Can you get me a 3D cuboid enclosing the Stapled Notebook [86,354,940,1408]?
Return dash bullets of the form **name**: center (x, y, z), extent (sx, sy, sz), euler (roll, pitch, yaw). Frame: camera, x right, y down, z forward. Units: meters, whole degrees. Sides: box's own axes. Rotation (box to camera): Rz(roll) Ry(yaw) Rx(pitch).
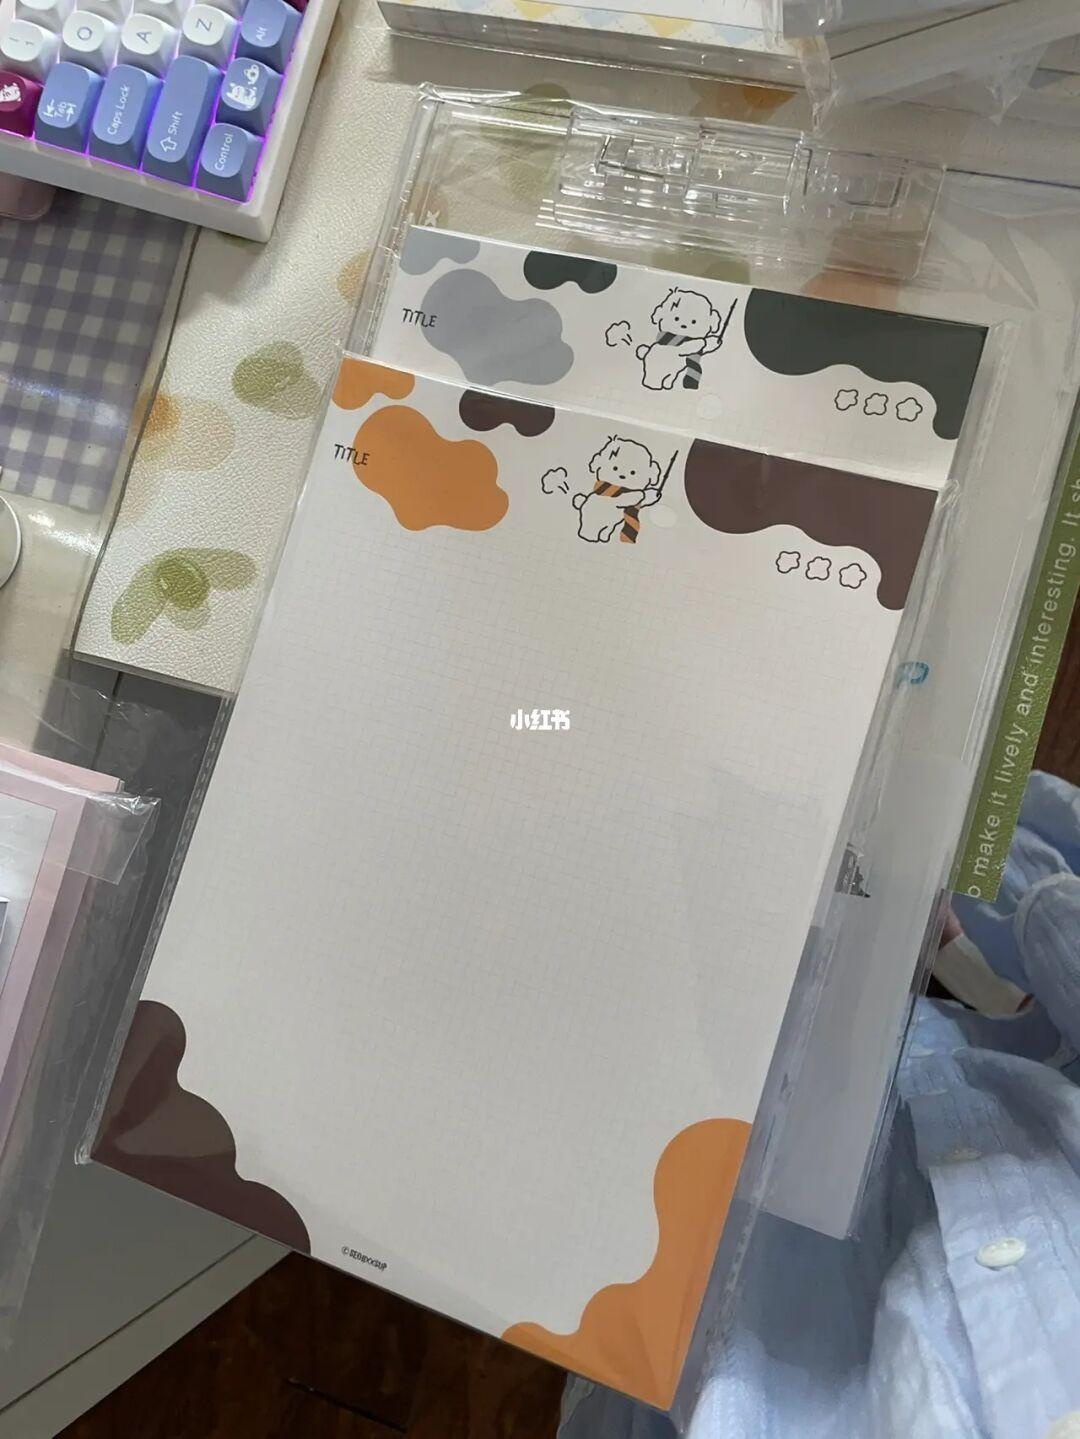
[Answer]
- **Stapled Notebook**: center (-0.015, 0.047, 0.447), extent (0.235, 0.253, 0.235), euler (15, 42, 15)
